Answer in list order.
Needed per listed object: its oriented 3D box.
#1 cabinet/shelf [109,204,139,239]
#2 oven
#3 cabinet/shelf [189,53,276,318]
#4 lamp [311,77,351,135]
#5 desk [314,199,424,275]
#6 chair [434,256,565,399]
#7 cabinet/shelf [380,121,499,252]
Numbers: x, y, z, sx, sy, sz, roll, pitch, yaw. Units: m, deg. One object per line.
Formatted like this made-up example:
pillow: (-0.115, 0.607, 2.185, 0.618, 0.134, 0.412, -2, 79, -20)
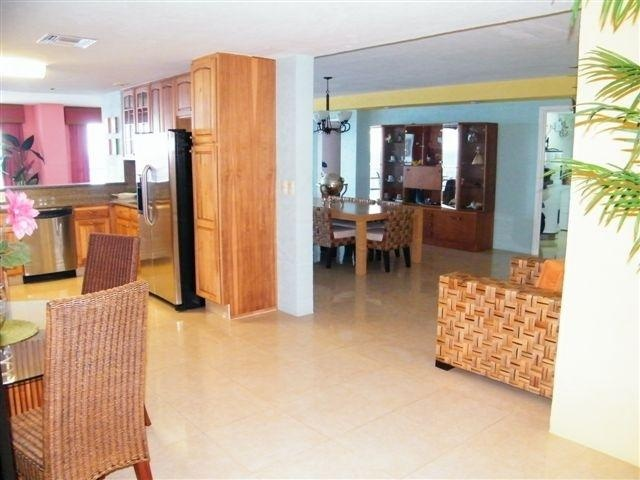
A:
cabinet/shelf: (-2.560, -0.258, 6.193, 0.566, 0.487, 0.279, 7, 13, 40)
oven: (-3.679, 0.220, 6.598, 0.627, 0.962, 0.568, -10, -21, -14)
cabinet/shelf: (-0.881, -0.522, 4.969, 0.935, 2.657, 0.608, -4, 15, -14)
lamp: (0.140, -2.300, 8.291, 0.794, 0.905, 0.753, -16, 26, -29)
desk: (0.695, -0.121, 7.499, 1.183, 0.749, 1.655, -18, 5, -25)
chair: (1.427, 0.586, 3.846, 1.081, 0.729, 1.053, -6, 9, -45)
cabinet/shelf: (2.234, -0.933, 8.529, 0.744, 2.332, 2.654, -6, 9, -36)
